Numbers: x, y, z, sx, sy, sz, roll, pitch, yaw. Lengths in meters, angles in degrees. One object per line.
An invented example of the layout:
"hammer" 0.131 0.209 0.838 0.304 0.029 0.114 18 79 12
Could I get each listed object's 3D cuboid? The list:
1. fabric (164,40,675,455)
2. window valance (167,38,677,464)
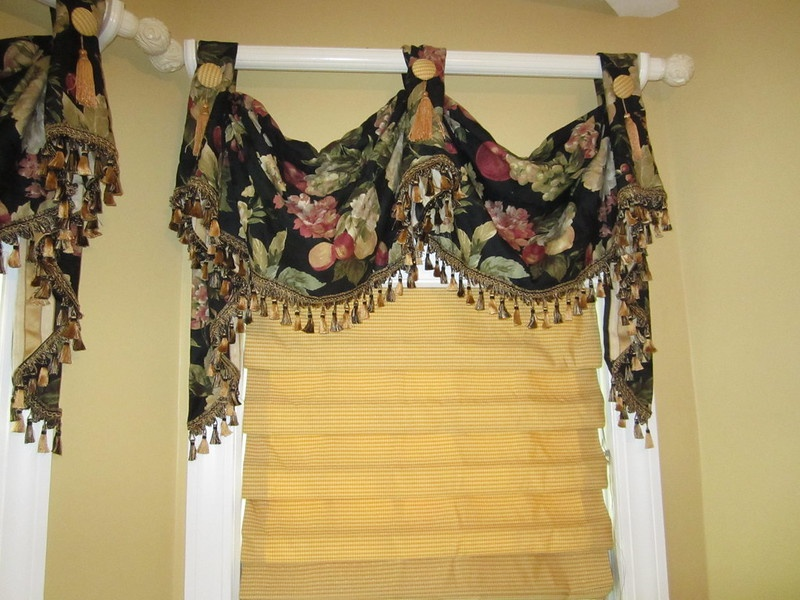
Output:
"fabric" 0.014 -0.116 2.702 1.067 1.037 0.243 0 -4 -6
"window valance" 0.022 -0.105 2.705 1.097 1.051 0.249 0 -4 -6
